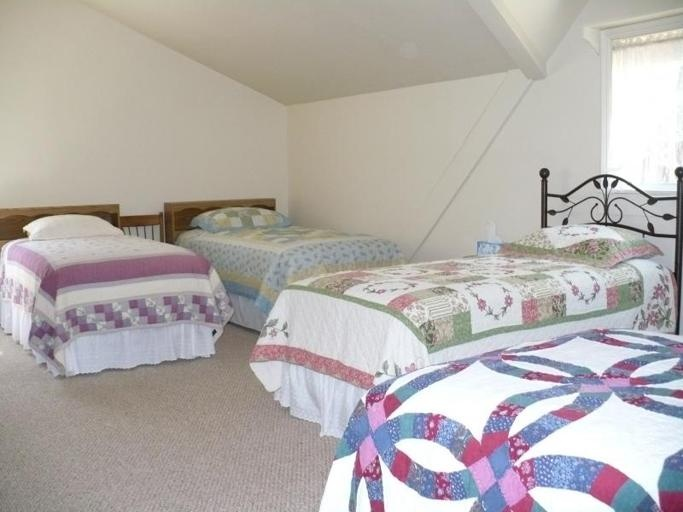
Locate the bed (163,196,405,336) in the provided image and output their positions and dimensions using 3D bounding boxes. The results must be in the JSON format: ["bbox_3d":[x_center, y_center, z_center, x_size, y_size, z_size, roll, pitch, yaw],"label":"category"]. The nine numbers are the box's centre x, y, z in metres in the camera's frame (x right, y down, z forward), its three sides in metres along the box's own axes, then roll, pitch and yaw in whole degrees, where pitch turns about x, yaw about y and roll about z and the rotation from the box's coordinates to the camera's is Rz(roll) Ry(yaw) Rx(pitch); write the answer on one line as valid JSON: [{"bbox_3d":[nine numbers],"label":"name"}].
[{"bbox_3d":[-0.751,-0.112,4.743,1.389,0.842,1.880,-6,10,-36],"label":"bed"}]
